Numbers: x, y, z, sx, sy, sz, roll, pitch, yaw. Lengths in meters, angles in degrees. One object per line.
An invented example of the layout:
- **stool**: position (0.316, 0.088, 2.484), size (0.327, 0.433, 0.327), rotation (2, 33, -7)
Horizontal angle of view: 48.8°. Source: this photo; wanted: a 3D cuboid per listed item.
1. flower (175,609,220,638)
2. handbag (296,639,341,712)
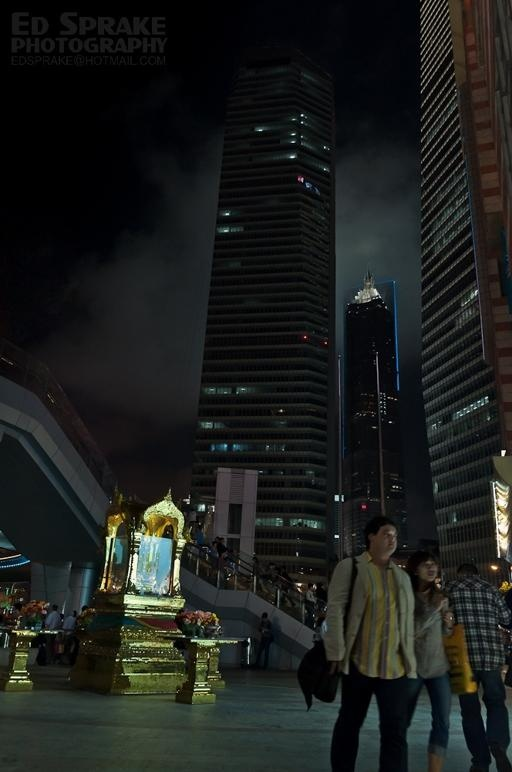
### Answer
- **flower**: position (-0.933, 3.860, 9.155), size (0.435, 0.327, 0.537), rotation (8, -16, -11)
- **handbag**: position (0.334, 1.416, 2.774), size (0.131, 0.257, 0.177), rotation (-1, 10, -11)
